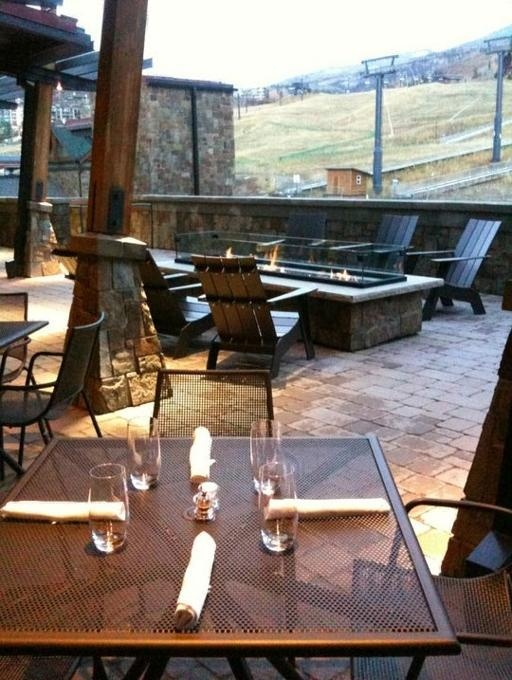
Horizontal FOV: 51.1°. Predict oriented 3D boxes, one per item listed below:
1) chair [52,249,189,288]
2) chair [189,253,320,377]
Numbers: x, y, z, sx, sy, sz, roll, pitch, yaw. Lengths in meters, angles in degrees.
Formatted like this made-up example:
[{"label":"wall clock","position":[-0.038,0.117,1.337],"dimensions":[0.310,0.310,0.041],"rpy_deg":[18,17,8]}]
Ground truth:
[{"label":"chair","position":[-1.414,-0.622,5.118],"dimensions":[0.394,0.285,0.969],"rpy_deg":[-21,0,19]},{"label":"chair","position":[-0.021,-0.269,4.778],"dimensions":[0.860,1.036,1.224],"rpy_deg":[4,12,24]}]
